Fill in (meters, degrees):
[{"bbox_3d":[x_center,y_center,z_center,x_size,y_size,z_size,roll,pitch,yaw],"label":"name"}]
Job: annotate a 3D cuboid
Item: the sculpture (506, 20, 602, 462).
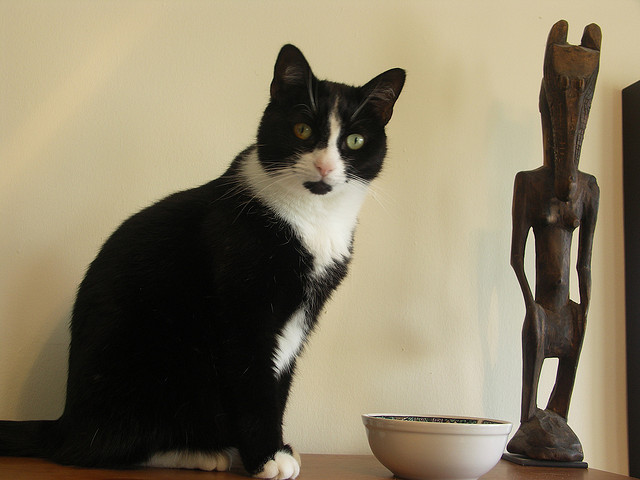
[{"bbox_3d":[0.571,-0.002,1.963,0.231,1.044,0.154,-1,-8,14],"label":"sculpture"}]
